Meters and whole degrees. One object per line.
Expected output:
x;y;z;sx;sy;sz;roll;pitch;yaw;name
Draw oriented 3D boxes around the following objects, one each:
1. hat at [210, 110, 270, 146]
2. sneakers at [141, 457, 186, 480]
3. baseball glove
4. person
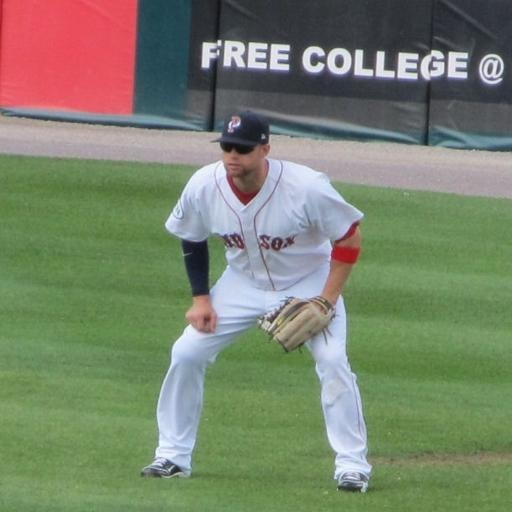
-0.078;-0.770;7.856;0.400;0.239;0.284;-5;7;-41;hat
-0.565;1.304;7.871;0.271;0.120;0.112;13;-2;-12;sneakers
0.252;0.403;7.827;0.403;0.306;0.173;-38;-8;-16;baseball glove
0.056;0.240;8.048;1.312;2.291;1.096;2;16;14;person
